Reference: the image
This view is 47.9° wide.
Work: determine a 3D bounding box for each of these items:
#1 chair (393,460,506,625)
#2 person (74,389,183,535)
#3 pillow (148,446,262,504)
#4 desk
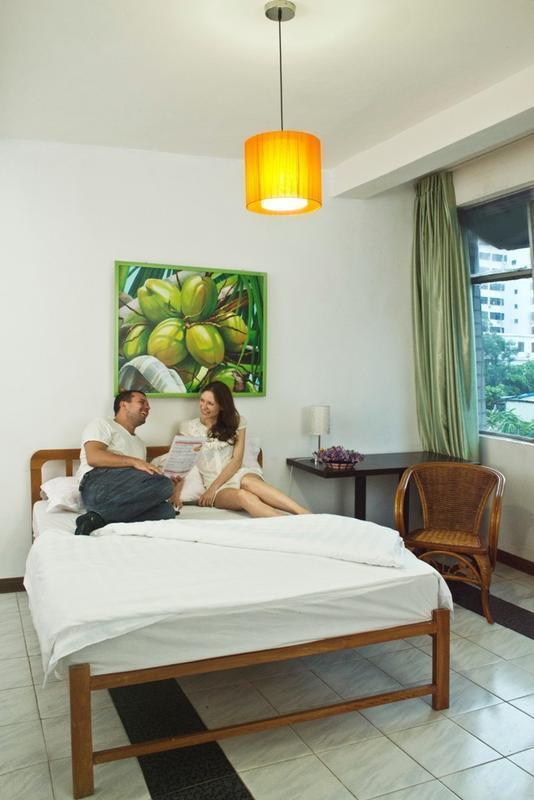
[{"bbox_3d":[1.100,0.712,3.390,0.622,0.833,0.639,4,5,-17],"label":"chair"},{"bbox_3d":[-0.748,0.352,3.097,0.483,0.750,0.417,2,7,-44],"label":"person"},{"bbox_3d":[-0.383,0.426,3.852,0.581,0.325,0.417,3,5,-31],"label":"pillow"},{"bbox_3d":[0.692,0.463,3.963,1.265,0.904,0.577,-1,1,-18],"label":"desk"}]
